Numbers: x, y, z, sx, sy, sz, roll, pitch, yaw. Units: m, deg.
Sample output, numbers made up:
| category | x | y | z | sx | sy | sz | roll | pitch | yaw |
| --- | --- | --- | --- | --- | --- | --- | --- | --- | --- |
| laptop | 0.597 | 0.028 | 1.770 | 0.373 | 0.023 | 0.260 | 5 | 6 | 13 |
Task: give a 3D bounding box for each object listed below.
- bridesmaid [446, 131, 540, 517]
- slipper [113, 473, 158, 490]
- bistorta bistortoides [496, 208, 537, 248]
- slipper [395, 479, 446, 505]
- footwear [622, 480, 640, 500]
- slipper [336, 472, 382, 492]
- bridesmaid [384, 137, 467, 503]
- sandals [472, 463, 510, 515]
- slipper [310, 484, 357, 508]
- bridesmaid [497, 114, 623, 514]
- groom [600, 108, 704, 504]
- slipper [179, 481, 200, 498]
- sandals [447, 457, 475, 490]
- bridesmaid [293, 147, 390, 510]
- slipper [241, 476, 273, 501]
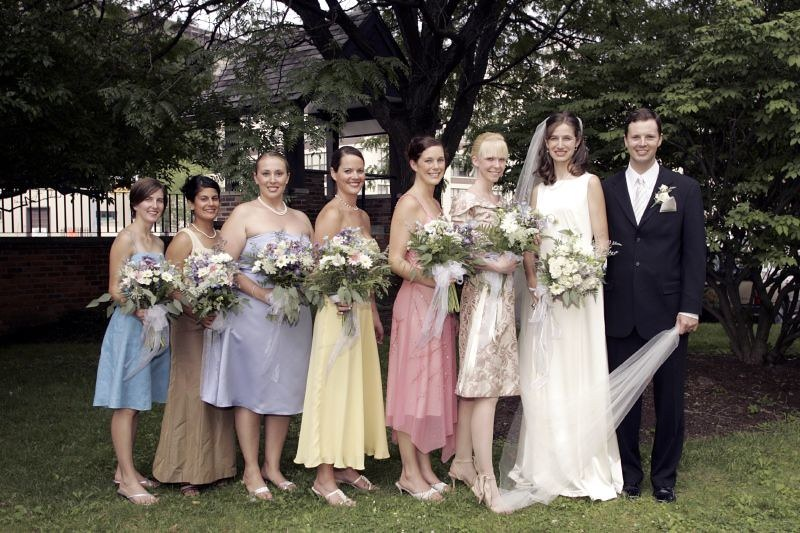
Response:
| category | x | y | z | sx | sy | sz | roll | pitch | yaw |
| --- | --- | --- | --- | --- | --- | --- | --- | --- | --- |
| bridesmaid | 0.990 | 0.534 | 7.412 | 0.908 | 3.335 | 1.202 | 1 | 2 | 39 |
| slipper | -2.707 | 2.187 | 7.476 | 0.479 | 0.212 | 0.176 | 0 | 0 | 22 |
| bistorta bistortoides | 1.161 | -0.384 | 7.073 | 0.392 | 0.425 | 0.321 | 0 | 10 | 4 |
| slipper | 0.216 | 2.258 | 7.276 | 0.369 | 0.087 | 0.187 | 0 | 5 | 41 |
| footwear | 2.306 | 2.232 | 7.227 | 0.122 | 0.133 | 0.129 | 2 | -8 | 13 |
| slipper | -0.422 | 2.185 | 7.447 | 0.431 | 0.121 | 0.183 | 21 | 28 | -2 |
| bridesmaid | 0.368 | 0.552 | 7.457 | 1.008 | 3.631 | 1.110 | 1 | 0 | 26 |
| sandals | 0.954 | 2.194 | 7.127 | 0.182 | 0.298 | 0.536 | -11 | 28 | -42 |
| slipper | -0.652 | 2.239 | 7.166 | 0.359 | 0.111 | 0.161 | 5 | 6 | 37 |
| bridesmaid | 1.625 | 0.384 | 7.396 | 1.309 | 3.892 | 1.033 | -2 | 0 | 23 |
| groom | 2.434 | 0.419 | 7.387 | 1.133 | 3.843 | 0.965 | 3 | 8 | 35 |
| slipper | -2.094 | 2.255 | 7.285 | 0.083 | 0.096 | 0.222 | 5 | -9 | -41 |
| sandals | 0.672 | 2.129 | 7.494 | 0.486 | 0.276 | 0.155 | 12 | -1 | -40 |
| bridesmaid | -0.771 | 0.588 | 7.557 | 0.928 | 3.583 | 1.263 | 0 | 1 | 16 |
| slipper | -1.427 | 2.228 | 7.288 | 0.109 | 0.167 | 0.364 | -5 | 4 | -34 |
